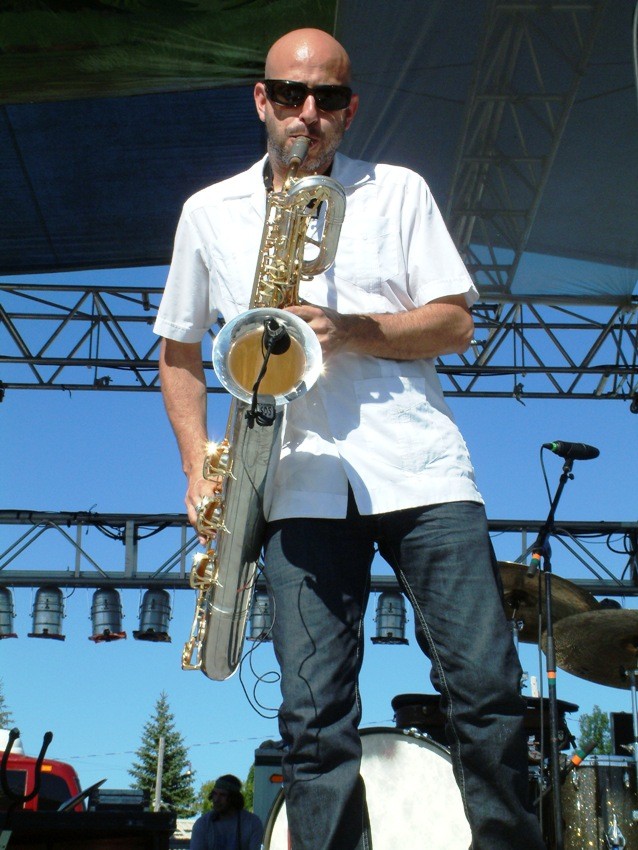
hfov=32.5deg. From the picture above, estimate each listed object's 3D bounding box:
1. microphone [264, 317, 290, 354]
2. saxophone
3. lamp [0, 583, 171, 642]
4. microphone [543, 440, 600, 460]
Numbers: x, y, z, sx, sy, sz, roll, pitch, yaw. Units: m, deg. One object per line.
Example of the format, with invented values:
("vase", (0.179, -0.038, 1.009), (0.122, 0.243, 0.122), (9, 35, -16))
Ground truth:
("microphone", (-0.105, -0.217, 2.677), (0.062, 0.088, 0.068), (-11, -25, 19))
("saxophone", (-0.101, 0.001, 2.918), (0.349, 1.605, 0.416), (-3, 14, -40))
("lamp", (-3.078, 2.444, 14.370), (2.228, 0.719, 0.915), (1, -22, -7))
("microphone", (1.132, 0.113, 4.919), (0.297, 0.084, 0.081), (3, -20, -7))
